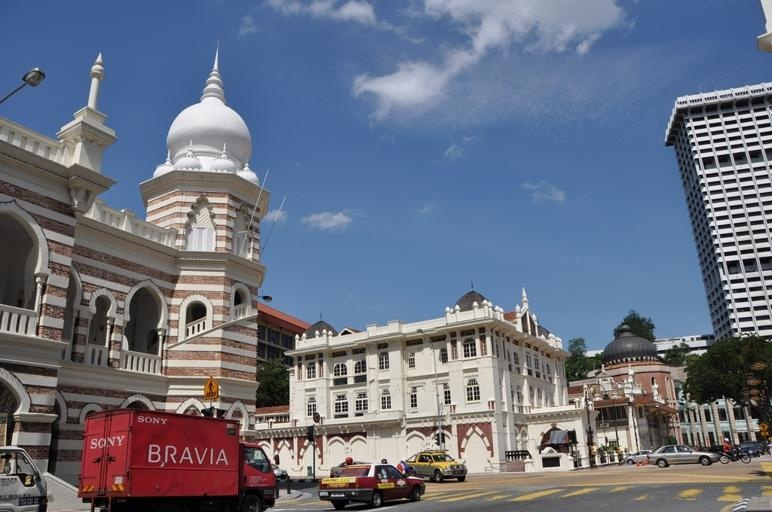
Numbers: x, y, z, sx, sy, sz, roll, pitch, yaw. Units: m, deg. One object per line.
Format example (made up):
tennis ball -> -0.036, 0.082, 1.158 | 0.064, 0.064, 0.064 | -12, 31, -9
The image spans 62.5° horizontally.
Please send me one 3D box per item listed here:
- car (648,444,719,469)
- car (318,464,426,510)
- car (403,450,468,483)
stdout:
car -> 22.330, 14.923, 47.608 | 1.826, 1.593, 4.927 | 10, -25, -32
car -> -0.488, 10.987, 31.178 | 4.702, 1.522, 2.304 | 13, -22, -43
car -> 3.197, 14.829, 45.819 | 2.697, 2.127, 4.874 | 19, -30, -39
